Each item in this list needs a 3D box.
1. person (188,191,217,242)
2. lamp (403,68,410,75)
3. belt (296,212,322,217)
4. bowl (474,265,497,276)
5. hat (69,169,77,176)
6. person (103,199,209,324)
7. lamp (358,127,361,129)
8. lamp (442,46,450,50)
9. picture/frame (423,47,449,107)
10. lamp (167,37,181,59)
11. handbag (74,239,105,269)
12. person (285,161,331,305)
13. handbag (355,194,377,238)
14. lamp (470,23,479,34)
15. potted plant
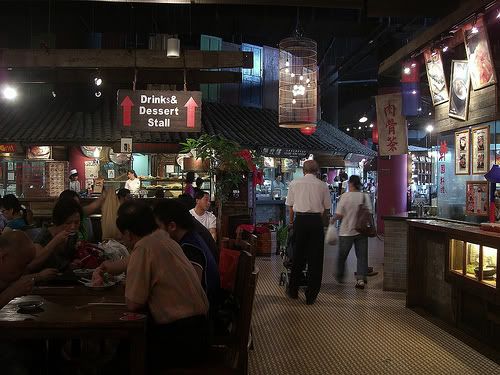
[{"bbox_3d":[-0.820,0.518,7.628,0.522,0.979,0.500,0,-12,19],"label":"person"},{"bbox_3d":[2.911,-2.167,8.269,0.105,0.116,0.060,1,4,15],"label":"lamp"},{"bbox_3d":[0.982,0.427,7.345,0.413,0.056,0.101,0,4,0],"label":"belt"},{"bbox_3d":[3.001,1.040,5.661,0.187,0.095,0.250,1,2,19],"label":"bowl"},{"bbox_3d":[-5.517,-0.485,13.910,0.264,0.084,0.277,-10,7,-4],"label":"hat"},{"bbox_3d":[-0.967,0.770,4.306,0.971,1.206,0.776,-17,-6,38],"label":"person"},{"bbox_3d":[6.826,-3.710,27.642,0.146,0.144,0.037,-1,33,-2],"label":"lamp"},{"bbox_3d":[3.204,-2.289,7.301,0.064,0.029,0.092,0,-6,-1],"label":"lamp"},{"bbox_3d":[3.183,-1.899,7.634,0.345,0.907,0.557,0,4,1],"label":"picture/frame"},{"bbox_3d":[-1.343,-2.471,7.805,0.250,0.375,0.369,0,4,-11],"label":"lamp"},{"bbox_3d":[-1.875,0.781,5.201,0.286,0.128,0.290,28,24,27],"label":"handbag"},{"bbox_3d":[0.935,0.693,7.387,0.712,2.272,0.669,2,4,21],"label":"person"},{"bbox_3d":[2.073,0.465,8.062,0.342,0.814,0.242,1,-4,-1],"label":"handbag"},{"bbox_3d":[3.225,-2.271,6.413,0.055,0.114,0.152,0,4,-6],"label":"lamp"},{"bbox_3d":[-0.982,-0.516,11.131,1.870,2.447,2.296,1,1,20],"label":"potted plant"}]
